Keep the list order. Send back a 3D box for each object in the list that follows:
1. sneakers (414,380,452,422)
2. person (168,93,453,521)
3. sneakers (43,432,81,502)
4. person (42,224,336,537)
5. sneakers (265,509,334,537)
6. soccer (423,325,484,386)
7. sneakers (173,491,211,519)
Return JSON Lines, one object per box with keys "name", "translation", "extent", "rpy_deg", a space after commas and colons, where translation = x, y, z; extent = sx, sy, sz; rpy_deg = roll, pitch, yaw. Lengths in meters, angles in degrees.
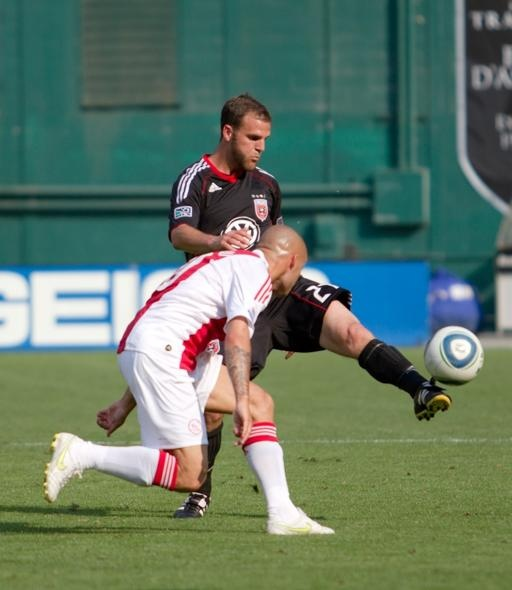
{"name": "sneakers", "translation": [0.818, 0.482, 5.345], "extent": [0.093, 0.136, 0.263], "rpy_deg": [4, -24, -16]}
{"name": "person", "translation": [0.239, -0.026, 5.852], "extent": [1.523, 2.106, 1.091], "rpy_deg": [-11, -14, 27]}
{"name": "sneakers", "translation": [-0.837, 0.698, 4.939], "extent": [0.162, 0.331, 0.124], "rpy_deg": [8, -14, 8]}
{"name": "person", "translation": [-0.344, 0.377, 5.174], "extent": [1.371, 1.338, 0.914], "rpy_deg": [6, -11, -29]}
{"name": "sneakers", "translation": [0.164, 0.959, 4.924], "extent": [0.312, 0.134, 0.103], "rpy_deg": [2, -1, -6]}
{"name": "soccer", "translation": [0.985, 0.319, 5.831], "extent": [0.293, 0.299, 0.291], "rpy_deg": [0, 4, -2]}
{"name": "sneakers", "translation": [-0.299, 0.945, 5.233], "extent": [0.071, 0.089, 0.200], "rpy_deg": [23, -3, 12]}
